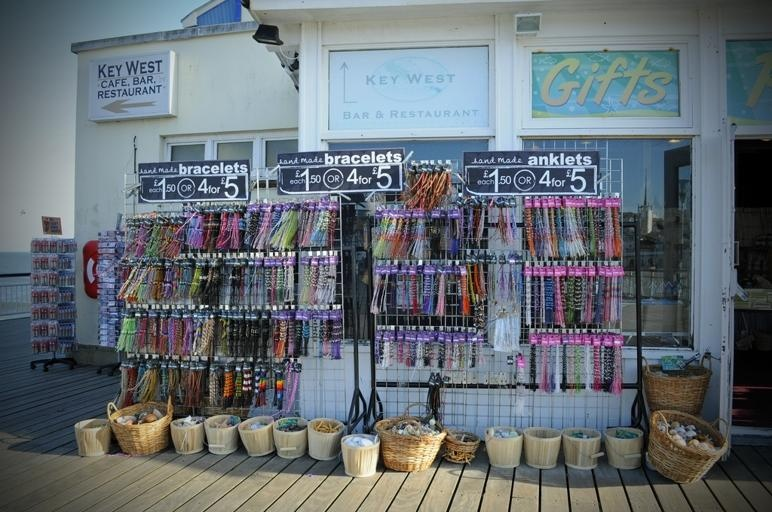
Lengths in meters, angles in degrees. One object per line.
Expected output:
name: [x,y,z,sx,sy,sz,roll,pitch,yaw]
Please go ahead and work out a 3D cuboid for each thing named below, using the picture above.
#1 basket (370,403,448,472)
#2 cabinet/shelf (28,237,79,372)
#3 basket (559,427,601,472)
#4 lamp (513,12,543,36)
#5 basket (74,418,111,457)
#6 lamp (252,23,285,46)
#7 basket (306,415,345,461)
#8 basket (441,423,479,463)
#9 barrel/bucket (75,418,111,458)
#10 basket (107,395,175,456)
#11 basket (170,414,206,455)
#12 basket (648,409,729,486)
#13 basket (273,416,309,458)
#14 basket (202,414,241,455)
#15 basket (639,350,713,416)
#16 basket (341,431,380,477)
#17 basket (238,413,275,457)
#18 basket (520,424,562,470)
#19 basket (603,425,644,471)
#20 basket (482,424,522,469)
basket: [0.242,1.890,7.602,0.607,0.470,0.628,1,-1,-9]
cabinet/shelf: [-4.782,0.582,10.514,0.610,1.508,0.160,-1,1,-26]
basket: [2.065,2.036,7.626,0.422,0.354,0.513,-2,5,7]
lamp: [1.568,-2.506,7.972,0.332,0.258,0.188,1,11,7]
basket: [-3.110,1.942,7.730,0.335,0.288,0.378,0,-3,-2]
lamp: [-1.322,-2.538,8.211,0.317,0.244,0.238,-1,1,-10]
basket: [-0.620,1.954,7.747,0.364,0.286,0.380,1,-3,33]
basket: [0.791,2.053,7.708,0.386,0.261,0.399,4,-13,-2]
barrel/bucket: [-3.115,1.942,7.736,0.336,0.291,0.378,0,-4,-1]
basket: [-2.645,1.824,7.941,0.608,0.558,0.702,-1,8,12]
basket: [-2.141,1.959,7.873,0.352,0.313,0.348,4,7,29]
basket: [3.072,1.929,7.445,0.727,0.629,0.803,5,19,-16]
basket: [-1.013,1.982,7.800,0.357,0.307,0.378,0,8,-8]
basket: [-1.812,1.952,7.847,0.385,0.325,0.404,-11,17,-34]
basket: [3.202,1.411,7.975,0.703,0.674,0.789,2,3,30]
basket: [-0.260,2.086,7.542,0.477,0.328,0.470,-4,8,-37]
basket: [-1.346,1.983,7.836,0.362,0.288,0.353,-10,4,8]
basket: [1.652,2.060,7.666,0.389,0.319,0.394,-3,-7,36]
basket: [2.494,2.000,7.571,0.360,0.288,0.376,-2,-2,41]
basket: [1.249,2.029,7.663,0.415,0.340,0.420,2,5,13]
